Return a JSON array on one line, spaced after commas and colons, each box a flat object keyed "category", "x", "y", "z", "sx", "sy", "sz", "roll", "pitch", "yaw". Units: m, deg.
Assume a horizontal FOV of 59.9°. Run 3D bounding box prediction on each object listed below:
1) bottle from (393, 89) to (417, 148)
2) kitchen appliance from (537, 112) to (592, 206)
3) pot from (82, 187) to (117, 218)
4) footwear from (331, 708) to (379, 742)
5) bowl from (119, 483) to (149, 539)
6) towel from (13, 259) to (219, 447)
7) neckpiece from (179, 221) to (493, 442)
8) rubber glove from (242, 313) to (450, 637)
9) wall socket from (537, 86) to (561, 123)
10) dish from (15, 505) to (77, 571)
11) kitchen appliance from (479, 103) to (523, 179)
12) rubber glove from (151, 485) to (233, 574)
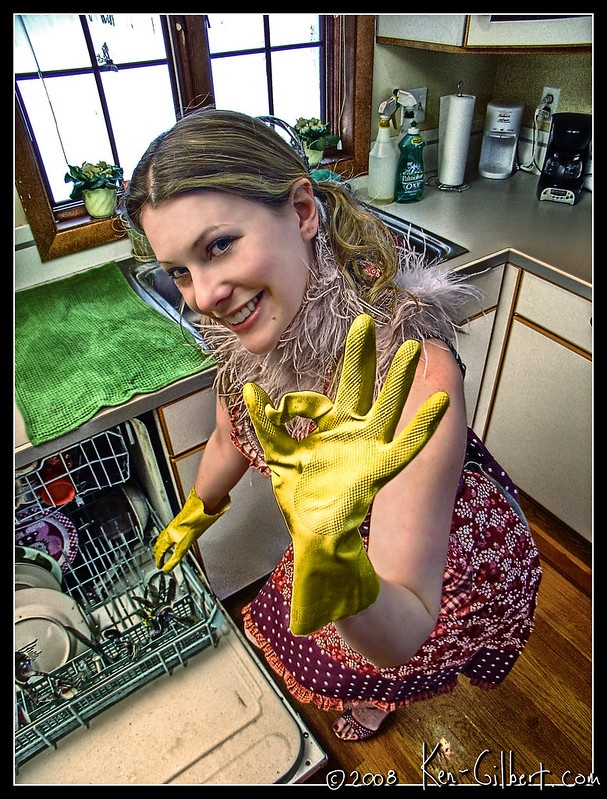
[{"category": "bottle", "x": 0.337, "y": -0.897, "z": 1.694, "sx": 0.074, "sy": 0.188, "sz": 0.053, "roll": 16, "pitch": 69, "yaw": 18}, {"category": "kitchen appliance", "x": 0.799, "y": -0.732, "z": 1.612, "sx": 0.129, "sy": 0.235, "sz": 0.133, "roll": 13, "pitch": 38, "yaw": 24}, {"category": "pot", "x": -0.539, "y": -0.521, "z": 1.398, "sx": 0.071, "sy": 0.077, "sz": 0.075, "roll": 2, "pitch": 52, "yaw": -2}, {"category": "footwear", "x": 0.121, "y": 0.747, "z": 1.223, "sx": 0.104, "sy": 0.056, "sz": 0.028, "roll": -26, "pitch": -8, "yaw": 15}, {"category": "bowl", "x": -0.410, "y": 0.272, "z": 1.299, "sx": 0.033, "sy": 0.103, "sz": 0.082, "roll": -13, "pitch": 7, "yaw": -15}, {"category": "towel", "x": -0.460, "y": -0.116, "z": 1.128, "sx": 0.310, "sy": 0.023, "sz": 0.450, "roll": -36, "pitch": 61, "yaw": -28}, {"category": "neckpiece", "x": 0.015, "y": -0.094, "z": 0.803, "sx": 0.372, "sy": 0.419, "sz": 0.175, "roll": -5, "pitch": 9, "yaw": -14}, {"category": "rubber glove", "x": 0.031, "y": 0.057, "z": 0.452, "sx": 0.133, "sy": 0.244, "sz": 0.121, "roll": -13, "pitch": 35, "yaw": -12}, {"category": "wall socket", "x": 0.810, "y": -0.974, "z": 1.732, "sx": 0.073, "sy": 0.110, "sz": 0.048, "roll": 26, "pitch": 43, "yaw": 31}, {"category": "dish", "x": -0.566, "y": 0.305, "z": 1.176, "sx": 0.019, "sy": 0.147, "sz": 0.137, "roll": 7, "pitch": 14, "yaw": 41}, {"category": "kitchen appliance", "x": 0.687, "y": -0.916, "z": 1.832, "sx": 0.113, "sy": 0.223, "sz": 0.200, "roll": 14, "pitch": 46, "yaw": 21}, {"category": "rubber glove", "x": -0.250, "y": 0.262, "z": 1.104, "sx": 0.105, "sy": 0.219, "sz": 0.068, "roll": 44, "pitch": 7, "yaw": 9}]
